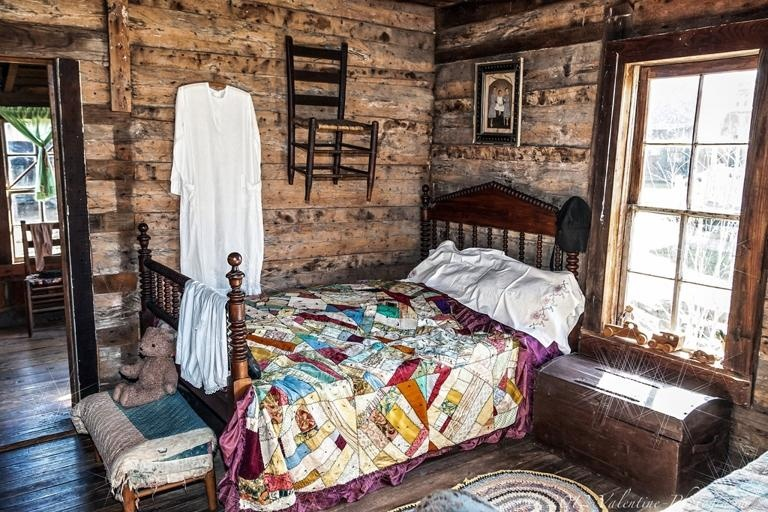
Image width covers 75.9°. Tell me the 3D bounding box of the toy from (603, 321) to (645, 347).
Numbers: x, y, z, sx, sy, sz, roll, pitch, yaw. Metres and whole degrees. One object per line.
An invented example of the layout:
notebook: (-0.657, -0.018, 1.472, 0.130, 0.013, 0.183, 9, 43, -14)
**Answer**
toy: (1.747, 0.564, 3.546, 0.072, 0.095, 0.215, 12, -3, -40)

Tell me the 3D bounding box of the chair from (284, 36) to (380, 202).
chair: (-0.406, -1.164, 4.273, 0.825, 1.399, 0.608, -5, 14, -25)

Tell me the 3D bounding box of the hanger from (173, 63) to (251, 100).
hanger: (-1.398, -1.378, 3.902, 0.445, 0.198, 0.039, -2, -11, -37)

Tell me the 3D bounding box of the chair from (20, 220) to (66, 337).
chair: (-3.909, 0.204, 5.606, 0.356, 1.186, 0.642, -6, 14, -30)

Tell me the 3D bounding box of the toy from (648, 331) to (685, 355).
toy: (1.926, 0.566, 3.353, 0.148, 0.125, 0.198, 1, 2, -40)

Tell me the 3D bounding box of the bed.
bed: (-0.170, 0.425, 4.093, 2.918, 1.503, 2.060, -14, 17, -25)

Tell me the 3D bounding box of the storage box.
storage box: (1.582, 0.802, 3.198, 0.742, 0.706, 1.336, -10, 13, -38)

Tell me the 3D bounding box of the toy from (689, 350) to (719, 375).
toy: (2.100, 0.669, 3.204, 0.124, 0.106, 0.046, 32, -1, 43)

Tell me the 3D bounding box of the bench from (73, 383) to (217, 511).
bench: (-1.428, 1.108, 2.955, 0.672, 0.396, 0.861, -8, 20, -30)
